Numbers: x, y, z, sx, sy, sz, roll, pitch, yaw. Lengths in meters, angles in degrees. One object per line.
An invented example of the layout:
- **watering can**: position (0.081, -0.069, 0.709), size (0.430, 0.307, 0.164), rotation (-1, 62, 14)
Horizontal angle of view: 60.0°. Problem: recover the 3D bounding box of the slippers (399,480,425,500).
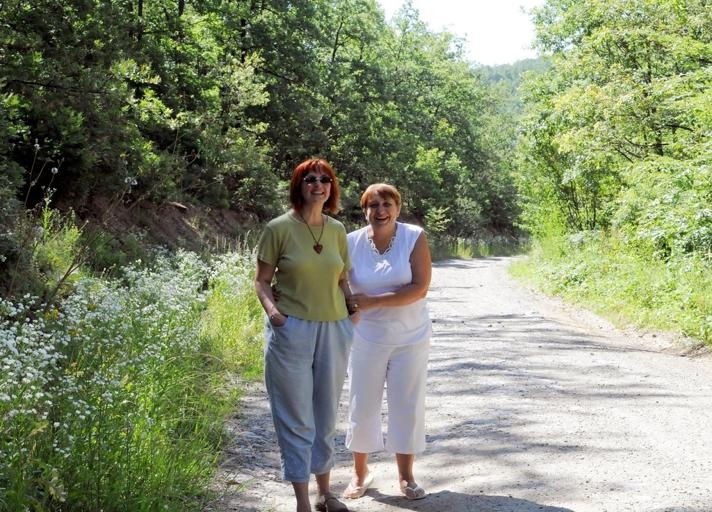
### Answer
- **slippers**: position (0.527, 2.308, 6.139), size (0.113, 0.062, 0.252), rotation (-1, -1, -16)
